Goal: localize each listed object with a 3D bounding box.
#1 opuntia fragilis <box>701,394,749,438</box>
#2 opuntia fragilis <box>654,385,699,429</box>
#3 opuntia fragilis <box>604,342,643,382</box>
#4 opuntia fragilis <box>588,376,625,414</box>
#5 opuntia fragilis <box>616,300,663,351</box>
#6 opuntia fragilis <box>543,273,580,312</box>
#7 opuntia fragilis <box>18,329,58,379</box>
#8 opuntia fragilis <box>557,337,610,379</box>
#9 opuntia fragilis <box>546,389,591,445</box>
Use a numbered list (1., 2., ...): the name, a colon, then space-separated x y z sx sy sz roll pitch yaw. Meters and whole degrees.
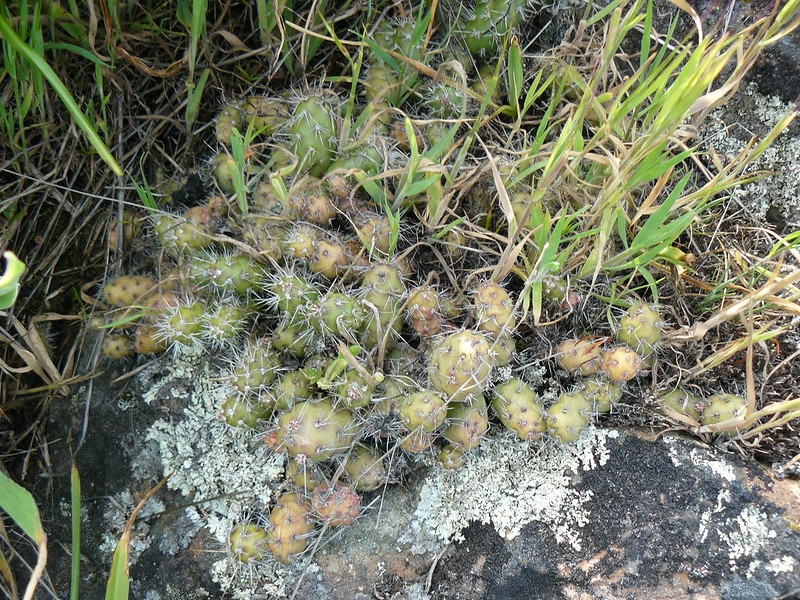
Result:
1. opuntia fragilis: 1.279 0.439 3.085 0.128 0.179 0.171 -11 74 -1
2. opuntia fragilis: 1.125 0.427 3.104 0.173 0.066 0.142 13 78 -2
3. opuntia fragilis: 0.863 0.254 3.007 0.109 0.079 0.152 30 106 2
4. opuntia fragilis: 0.809 0.383 3.051 0.101 0.086 0.155 -21 67 -13
5. opuntia fragilis: 0.945 0.123 3.066 0.137 0.173 0.197 9 70 3
6. opuntia fragilis: 0.643 -0.018 3.149 0.104 0.085 0.188 -44 96 -13
7. opuntia fragilis: -1.542 0.263 3.317 0.059 0.067 0.309 -36 64 -11
8. opuntia fragilis: 0.718 0.231 3.060 0.157 0.126 0.131 1 85 8
9. opuntia fragilis: 0.658 0.461 3.072 0.148 0.110 0.194 49 61 -6
